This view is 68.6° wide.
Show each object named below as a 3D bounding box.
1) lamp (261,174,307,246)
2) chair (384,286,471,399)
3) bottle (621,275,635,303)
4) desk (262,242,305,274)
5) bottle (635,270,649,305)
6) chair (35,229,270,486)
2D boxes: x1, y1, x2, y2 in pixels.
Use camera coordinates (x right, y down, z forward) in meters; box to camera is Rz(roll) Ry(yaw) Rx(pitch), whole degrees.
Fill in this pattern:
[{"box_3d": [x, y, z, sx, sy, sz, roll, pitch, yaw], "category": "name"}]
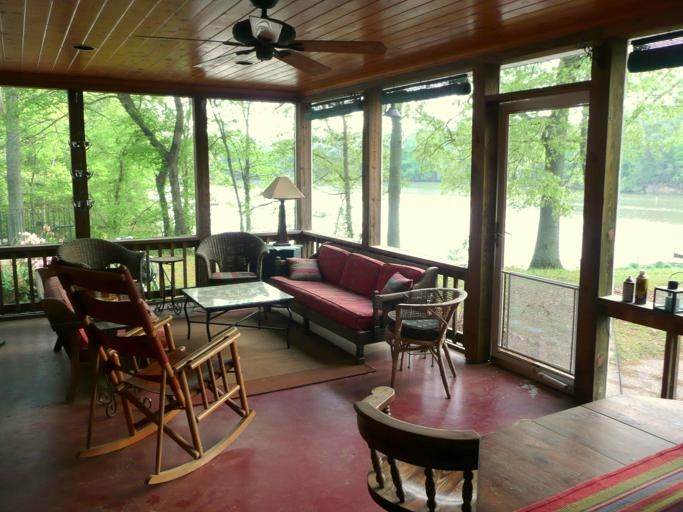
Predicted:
[{"box_3d": [-0.836, -0.678, 7.365, 0.571, 0.990, 0.756, -2, 10, -5], "category": "lamp"}, {"box_3d": [0.732, 0.776, 4.886, 1.007, 0.967, 1.008, 1, 0, 4], "category": "chair"}, {"box_3d": [2.299, 0.262, 3.990, 0.086, 0.191, 0.151, 5, 11, 29], "category": "bottle"}, {"box_3d": [-0.788, 0.020, 7.120, 0.501, 0.420, 0.461, -1, 2, -28], "category": "desk"}, {"box_3d": [2.378, 0.241, 3.957, 0.082, 0.249, 0.204, 5, 12, 31], "category": "bottle"}, {"box_3d": [-1.738, 0.570, 4.584, 1.563, 2.369, 1.949, 9, 15, 33], "category": "chair"}]
